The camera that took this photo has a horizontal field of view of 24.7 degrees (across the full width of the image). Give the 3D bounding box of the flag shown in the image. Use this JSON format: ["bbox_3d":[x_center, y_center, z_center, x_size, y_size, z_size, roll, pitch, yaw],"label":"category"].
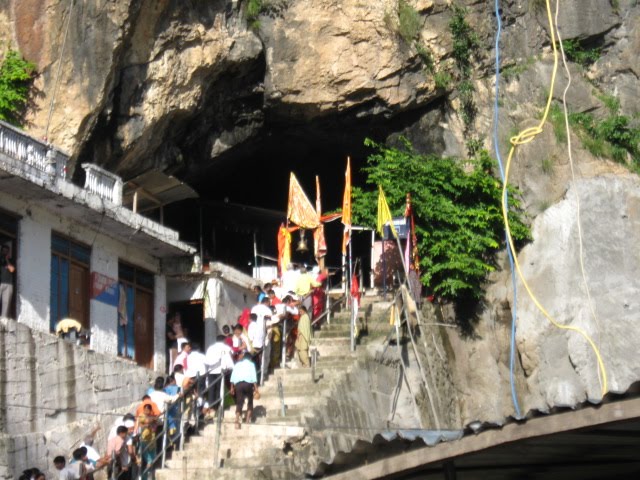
[{"bbox_3d":[0.925,-0.579,48.501,3.814,4.951,0.594,-2,-1,-19],"label":"flag"}]
